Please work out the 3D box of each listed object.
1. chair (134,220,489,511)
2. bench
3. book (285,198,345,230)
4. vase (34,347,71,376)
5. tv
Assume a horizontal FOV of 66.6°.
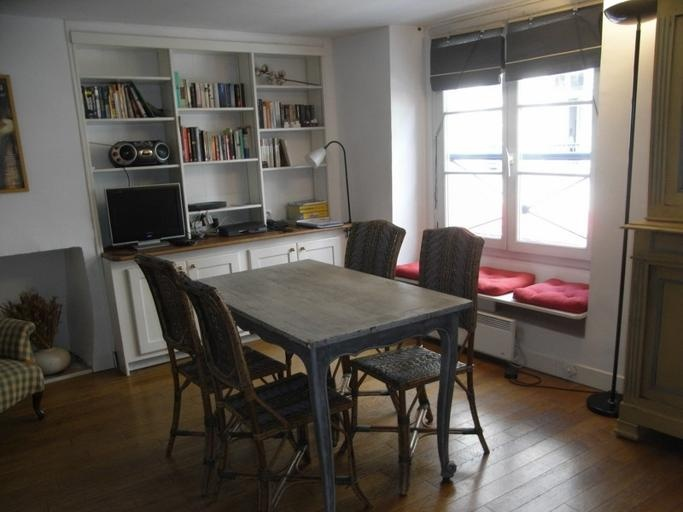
[{"bbox_3d":[0.081,0.550,3.215,1.366,1.361,1.264,-11,15,-38],"label":"chair"},{"bbox_3d":[1.503,0.482,4.279,0.588,0.493,1.031,-18,23,-41],"label":"bench"},{"bbox_3d":[-0.308,-0.422,5.293,0.332,0.147,0.447,-8,15,-34],"label":"book"},{"bbox_3d":[-2.457,0.891,4.414,0.234,0.153,0.232,-1,5,-6],"label":"vase"},{"bbox_3d":[-1.700,-0.334,4.486,0.539,0.446,0.138,-9,12,-27],"label":"tv"}]
